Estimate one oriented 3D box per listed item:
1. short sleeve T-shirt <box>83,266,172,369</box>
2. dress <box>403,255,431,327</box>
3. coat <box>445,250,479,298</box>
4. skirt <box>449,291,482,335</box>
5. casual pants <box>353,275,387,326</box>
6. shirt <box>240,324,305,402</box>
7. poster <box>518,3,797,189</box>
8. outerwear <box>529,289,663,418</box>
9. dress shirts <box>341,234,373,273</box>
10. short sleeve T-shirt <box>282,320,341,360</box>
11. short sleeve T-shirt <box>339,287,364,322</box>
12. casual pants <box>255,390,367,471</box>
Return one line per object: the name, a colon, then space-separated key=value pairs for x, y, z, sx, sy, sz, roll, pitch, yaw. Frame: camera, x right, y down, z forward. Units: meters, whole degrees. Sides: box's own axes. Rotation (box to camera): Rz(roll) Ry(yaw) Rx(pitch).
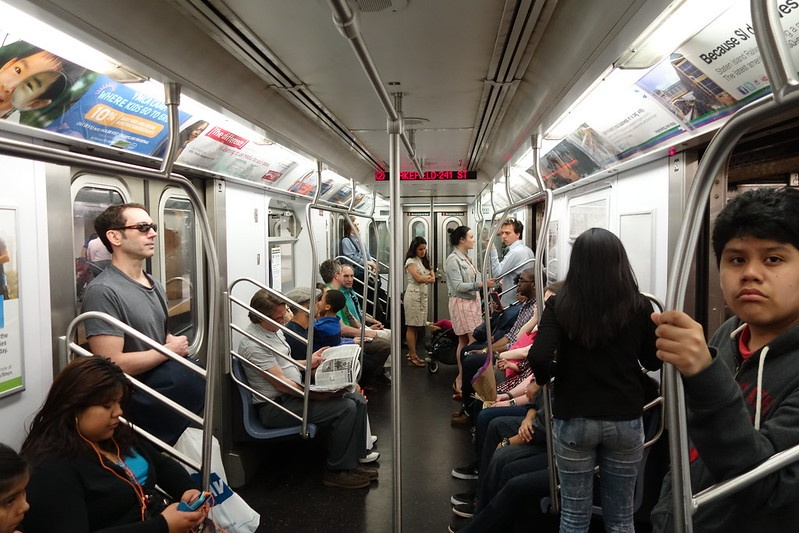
short sleeve T-shirt: x=-1.837 y=0.295 z=3.452 sx=0.429 sy=0.615 sz=0.826 roll=1 pitch=2 yaw=5
dress: x=0.313 y=0.566 z=8.109 sx=0.366 sy=1.336 sz=0.497 roll=2 pitch=0 yaw=42
coat: x=0.830 y=0.131 z=7.084 sx=0.567 sy=0.760 sz=0.784 roll=-2 pitch=-1 yaw=5
skirt: x=0.954 y=0.602 z=6.880 sx=0.476 sy=0.769 sz=0.609 roll=-3 pitch=-4 yaw=-3
casual pants: x=-0.456 y=0.518 z=7.514 sx=0.310 sy=0.787 sz=0.858 roll=-5 pitch=11 yaw=-10
shirt: x=-1.125 y=0.849 z=4.361 sx=0.390 sy=0.592 sz=0.659 roll=-9 pitch=-2 yaw=-7
poster: x=1.496 y=-0.996 z=2.888 sx=0.164 sy=0.292 sz=1.196 roll=-33 pitch=7 yaw=-22
outerwear: x=1.127 y=0.472 z=2.860 sx=0.849 sy=0.719 sz=0.448 roll=-1 pitch=-1 yaw=-10
dress shirts: x=-0.657 y=-0.194 z=7.531 sx=0.340 sy=0.547 sz=0.586 roll=-19 pitch=-13 yaw=11
short sleeve T-shirt: x=-0.897 y=0.708 z=5.219 sx=0.702 sy=0.354 sz=0.579 roll=-4 pitch=1 yaw=-16
short sleeve T-shirt: x=-0.685 y=0.506 z=6.818 sx=0.210 sy=0.470 sz=0.611 roll=-11 pitch=7 yaw=7
casual pants: x=-0.769 y=1.429 z=4.766 sx=0.884 sy=0.884 sz=0.650 roll=-8 pitch=0 yaw=-2
